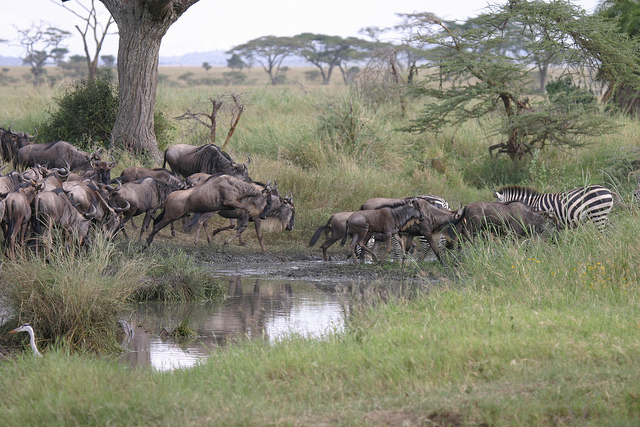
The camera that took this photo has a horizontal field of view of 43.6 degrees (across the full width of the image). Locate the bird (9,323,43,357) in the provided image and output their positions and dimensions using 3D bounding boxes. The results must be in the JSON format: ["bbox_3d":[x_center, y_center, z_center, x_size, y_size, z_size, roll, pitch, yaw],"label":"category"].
[{"bbox_3d":[-4.877,2.111,13.443,0.362,0.568,1.057,-3,14,-24],"label":"bird"}]

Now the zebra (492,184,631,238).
[{"bbox_3d":[6.142,0.054,20.686,3.444,1.928,0.734,-7,-3,1],"label":"zebra"}]

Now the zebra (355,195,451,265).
[{"bbox_3d":[2.380,0.377,21.568,2.076,2.088,3.523,3,12,4],"label":"zebra"}]
